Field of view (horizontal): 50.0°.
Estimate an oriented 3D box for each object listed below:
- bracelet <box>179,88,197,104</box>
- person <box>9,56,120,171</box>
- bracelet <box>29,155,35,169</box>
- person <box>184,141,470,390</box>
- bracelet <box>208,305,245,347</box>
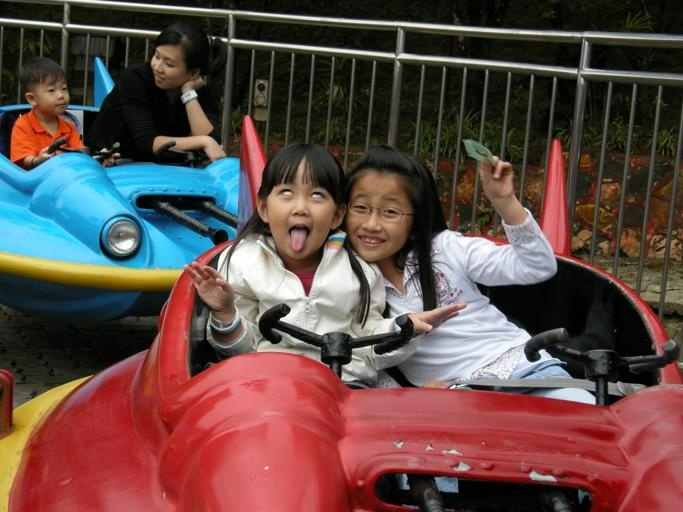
[{"bbox_3d":[-0.932,-0.949,4.441,0.106,0.066,0.103,-13,-5,-24],"label":"bracelet"},{"bbox_3d":[-1.663,-0.750,4.280,0.518,0.727,0.537,10,12,30],"label":"person"},{"bbox_3d":[-1.645,-0.489,3.899,0.025,0.054,0.090,-7,13,-31],"label":"bracelet"},{"bbox_3d":[-0.056,0.043,2.080,0.663,0.696,0.457,0,11,2],"label":"person"},{"bbox_3d":[-0.315,0.191,1.998,0.098,0.084,0.082,-3,18,-6],"label":"bracelet"}]
